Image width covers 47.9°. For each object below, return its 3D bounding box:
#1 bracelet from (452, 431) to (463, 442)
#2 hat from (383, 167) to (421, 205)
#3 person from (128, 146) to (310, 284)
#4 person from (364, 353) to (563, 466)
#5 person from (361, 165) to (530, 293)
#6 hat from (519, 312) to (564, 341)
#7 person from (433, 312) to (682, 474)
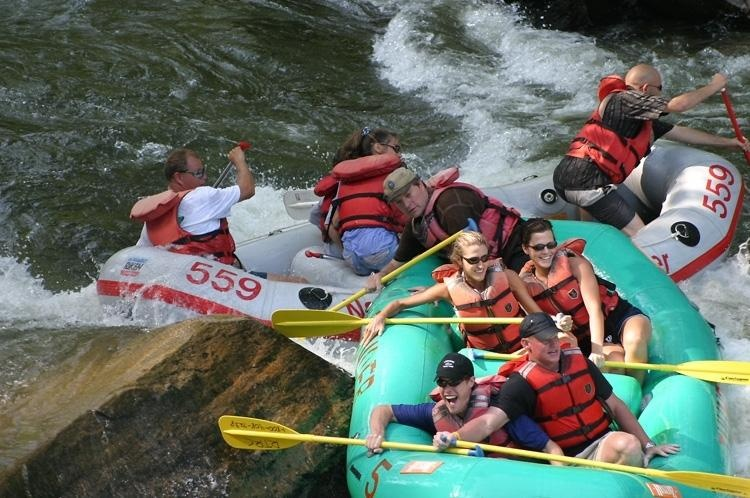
[{"bbox_3d":[0.639,1.449,6.580,0.063,0.017,0.064,5,76,7],"label":"bracelet"},{"bbox_3d":[0.217,-0.581,7.694,0.327,0.278,0.222,-32,50,-29],"label":"hat"},{"bbox_3d":[-1.771,-0.222,8.621,1.333,1.314,0.897,-5,42,-4],"label":"person"},{"bbox_3d":[0.719,1.321,6.925,1.904,0.972,0.774,-9,77,38],"label":"person"},{"bbox_3d":[0.696,-0.252,7.678,1.134,0.978,0.561,-40,64,25],"label":"person"},{"bbox_3d":[1.292,0.614,6.627,0.254,0.189,0.139,-17,82,34],"label":"hat"},{"bbox_3d":[1.444,1.198,6.804,0.839,0.526,0.820,-39,93,-17],"label":"person"}]
